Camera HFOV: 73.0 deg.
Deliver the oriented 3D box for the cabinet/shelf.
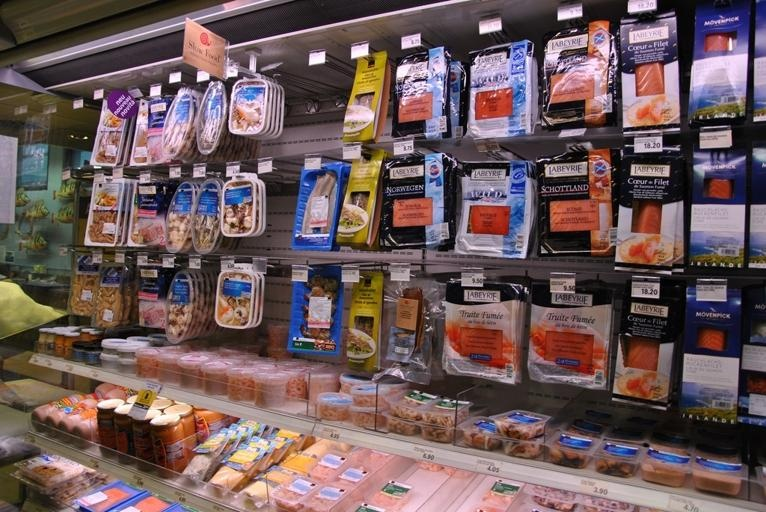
[{"bbox_3d":[0.168,-0.153,2.751,2.959,2.163,1.080,1,2,38],"label":"cabinet/shelf"}]
